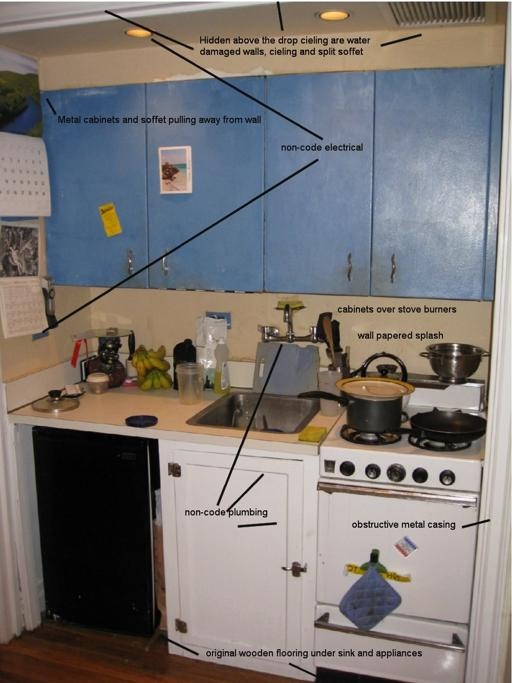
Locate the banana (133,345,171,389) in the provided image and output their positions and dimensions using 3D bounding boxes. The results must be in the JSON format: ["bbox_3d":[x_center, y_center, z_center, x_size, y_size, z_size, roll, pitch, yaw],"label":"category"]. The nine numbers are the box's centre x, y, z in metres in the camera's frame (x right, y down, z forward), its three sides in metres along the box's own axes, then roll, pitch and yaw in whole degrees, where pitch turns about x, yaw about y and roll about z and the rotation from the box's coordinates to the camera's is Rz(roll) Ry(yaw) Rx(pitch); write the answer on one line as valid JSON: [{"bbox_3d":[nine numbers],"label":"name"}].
[{"bbox_3d":[-0.506,0.119,2.745,0.183,0.208,0.191,-2,10,-12],"label":"banana"}]

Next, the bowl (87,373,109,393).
[{"bbox_3d":[-0.729,0.193,2.656,0.088,0.071,0.089,1,20,0],"label":"bowl"}]

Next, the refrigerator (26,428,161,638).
[{"bbox_3d":[-0.577,0.767,2.543,0.604,0.807,0.558,-1,3,11],"label":"refrigerator"}]

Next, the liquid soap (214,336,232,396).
[{"bbox_3d":[-0.164,0.120,2.619,0.066,0.223,0.127,-1,10,-4],"label":"liquid soap"}]

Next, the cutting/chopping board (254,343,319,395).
[{"bbox_3d":[0.101,0.103,2.583,0.320,0.232,0.170,0,15,-24],"label":"cutting/chopping board"}]
